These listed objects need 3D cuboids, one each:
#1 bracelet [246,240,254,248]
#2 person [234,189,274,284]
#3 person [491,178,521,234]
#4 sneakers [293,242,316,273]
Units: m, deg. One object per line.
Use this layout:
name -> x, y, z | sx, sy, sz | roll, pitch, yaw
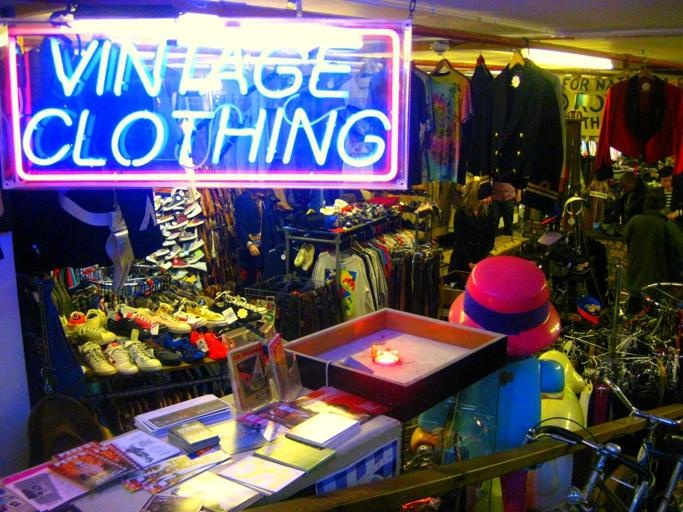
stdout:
bracelet -> -1.229, -0.168, 6.708 | 0.077, 0.047, 0.078 | -5, 0, 8
person -> -1.144, -0.264, 6.862 | 0.588, 1.286, 0.354 | -9, 13, -29
person -> 2.857, -0.818, 8.831 | 0.585, 1.136, 0.267 | -2, -30, 28
sneakers -> -0.455, 0.012, 6.304 | 0.235, 0.338, 0.109 | 17, -5, 7
